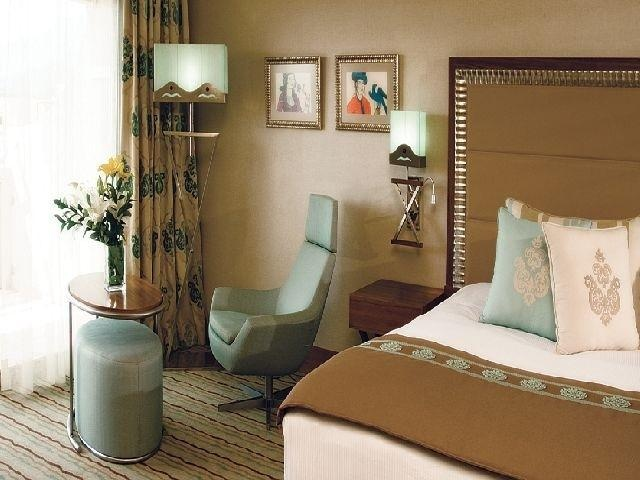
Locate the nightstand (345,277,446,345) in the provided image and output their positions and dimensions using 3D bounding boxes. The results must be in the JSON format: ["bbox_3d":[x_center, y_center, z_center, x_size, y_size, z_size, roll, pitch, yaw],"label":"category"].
[{"bbox_3d":[0.531,0.313,3.816,0.557,0.591,0.393,6,13,31],"label":"nightstand"}]

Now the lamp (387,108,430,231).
[{"bbox_3d":[0.615,-0.549,3.893,0.242,0.716,0.084,16,33,34],"label":"lamp"}]

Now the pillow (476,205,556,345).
[{"bbox_3d":[1.086,0.218,3.087,0.725,0.758,0.195,25,-32,-34],"label":"pillow"}]

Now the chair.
[{"bbox_3d":[-0.361,0.455,3.894,0.825,1.521,1.029,2,5,-25],"label":"chair"}]

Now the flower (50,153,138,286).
[{"bbox_3d":[-1.282,-0.073,3.475,0.495,0.748,0.504,-8,-4,40],"label":"flower"}]

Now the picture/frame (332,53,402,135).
[{"bbox_3d":[0.362,-1.075,3.996,0.573,0.696,0.050,3,6,30],"label":"picture/frame"}]

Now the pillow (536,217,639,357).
[{"bbox_3d":[1.336,0.265,2.752,0.542,0.661,0.205,-2,-10,-27],"label":"pillow"}]

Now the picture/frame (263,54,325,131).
[{"bbox_3d":[-0.184,-1.161,4.271,0.537,0.653,0.045,4,8,28],"label":"picture/frame"}]

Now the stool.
[{"bbox_3d":[-1.241,0.865,3.438,0.480,0.724,0.766,-6,18,-34],"label":"stool"}]
